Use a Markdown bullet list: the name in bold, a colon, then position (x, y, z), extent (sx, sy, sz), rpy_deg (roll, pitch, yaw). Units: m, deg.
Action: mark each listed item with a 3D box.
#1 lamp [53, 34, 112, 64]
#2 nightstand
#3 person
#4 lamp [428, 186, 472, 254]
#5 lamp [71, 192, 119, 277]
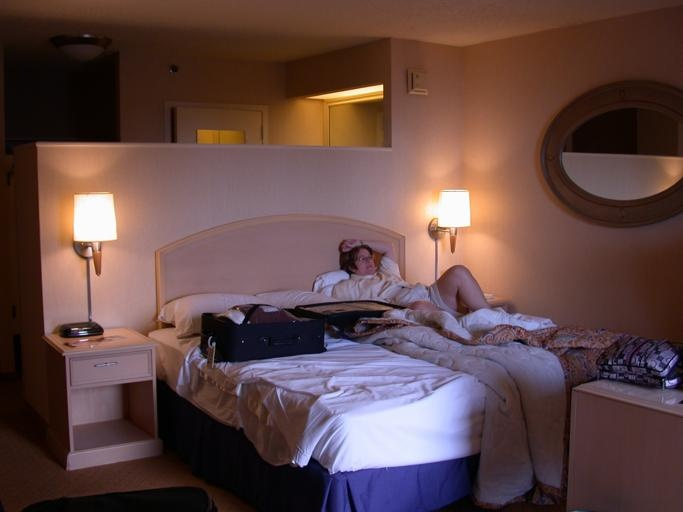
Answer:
- **lamp**: position (-2.348, -1.877, 4.976), extent (0.496, 0.159, 0.669), rpy_deg (-10, 17, -27)
- **nightstand**: position (-1.585, 0.950, 4.036), extent (0.830, 1.120, 0.811), rpy_deg (-2, 1, -32)
- **person**: position (0.491, 0.169, 4.523), extent (1.207, 0.524, 0.593), rpy_deg (-1, 4, 41)
- **lamp**: position (1.049, -0.310, 5.361), extent (0.340, 0.550, 0.279), rpy_deg (8, 8, 43)
- **lamp**: position (-1.784, -0.149, 3.981), extent (0.300, 0.622, 0.266), rpy_deg (-8, 16, -24)
